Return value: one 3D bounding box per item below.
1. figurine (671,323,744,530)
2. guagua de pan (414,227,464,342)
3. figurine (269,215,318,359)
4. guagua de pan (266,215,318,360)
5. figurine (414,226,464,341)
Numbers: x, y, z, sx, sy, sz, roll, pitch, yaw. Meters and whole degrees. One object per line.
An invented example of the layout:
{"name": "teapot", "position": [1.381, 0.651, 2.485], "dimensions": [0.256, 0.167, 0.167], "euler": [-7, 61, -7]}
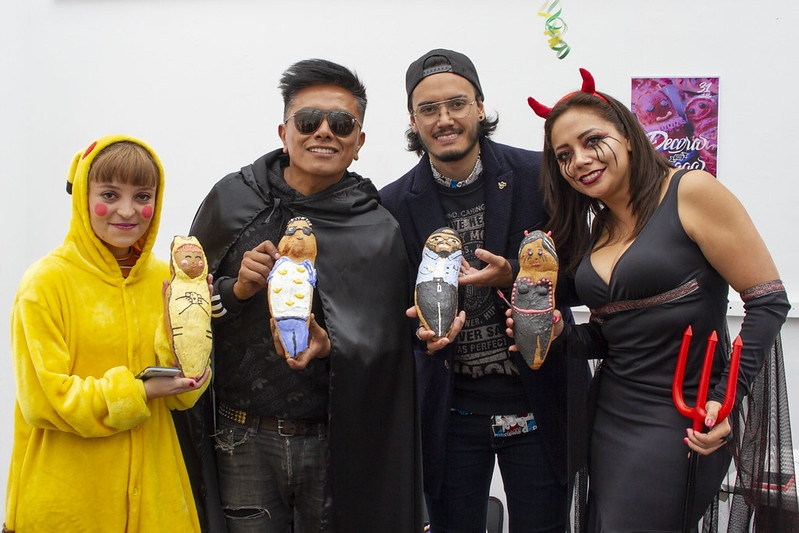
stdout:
{"name": "figurine", "position": [1.411, 0.682, 3.580], "dimensions": [0.271, 1.064, 0.079], "euler": [4, 0, 31]}
{"name": "guagua de pan", "position": [0.200, 0.092, 3.865], "dimensions": [0.233, 0.541, 0.171], "euler": [2, -17, 8]}
{"name": "figurine", "position": [-0.523, 0.101, 3.761], "dimensions": [0.239, 0.648, 0.194], "euler": [8, -14, -17]}
{"name": "guagua de pan", "position": [-0.524, 0.103, 3.760], "dimensions": [0.241, 0.652, 0.196], "euler": [9, -14, -17]}
{"name": "figurine", "position": [0.204, 0.086, 3.949], "dimensions": [0.232, 0.542, 0.174], "euler": [2, -16, 8]}
